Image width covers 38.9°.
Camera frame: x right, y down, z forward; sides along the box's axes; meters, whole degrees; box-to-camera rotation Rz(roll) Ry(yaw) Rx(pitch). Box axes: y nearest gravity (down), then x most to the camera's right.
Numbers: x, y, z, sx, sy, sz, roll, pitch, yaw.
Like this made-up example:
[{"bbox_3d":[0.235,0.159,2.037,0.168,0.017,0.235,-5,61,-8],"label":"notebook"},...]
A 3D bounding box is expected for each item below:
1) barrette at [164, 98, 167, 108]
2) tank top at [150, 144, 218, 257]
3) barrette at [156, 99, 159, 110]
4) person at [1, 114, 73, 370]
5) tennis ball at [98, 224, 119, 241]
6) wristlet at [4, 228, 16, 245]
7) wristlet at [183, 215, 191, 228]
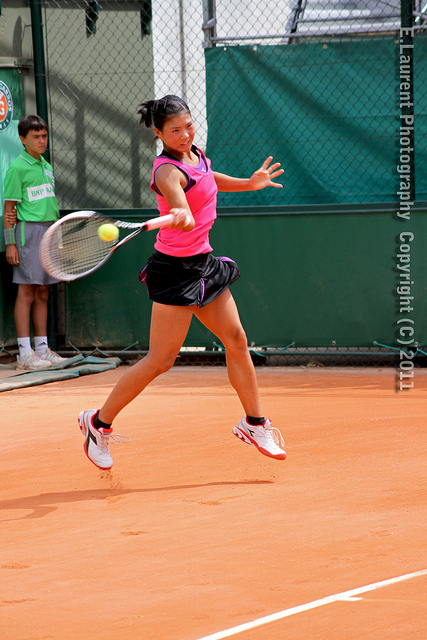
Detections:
[{"bbox_3d":[-0.176,-0.807,2.251,0.007,0.034,0.015,-2,2,14],"label":"barrette"},{"bbox_3d":[-0.108,-0.477,2.364,0.258,0.453,0.290,-3,2,-3],"label":"tank top"},{"bbox_3d":[-0.207,-0.807,2.270,0.010,0.036,0.018,-2,2,13],"label":"barrette"},{"bbox_3d":[-1.525,-0.656,5.239,0.512,1.501,0.369,-3,2,1],"label":"person"},{"bbox_3d":[-0.427,-0.350,2.414,0.074,0.064,0.038,4,12,6],"label":"tennis ball"},{"bbox_3d":[-1.741,-0.719,5.197,0.088,0.099,0.054,-3,2,-9],"label":"wristlet"},{"bbox_3d":[-0.087,-0.342,2.086,0.011,0.032,0.031,23,-39,0],"label":"wristlet"}]
